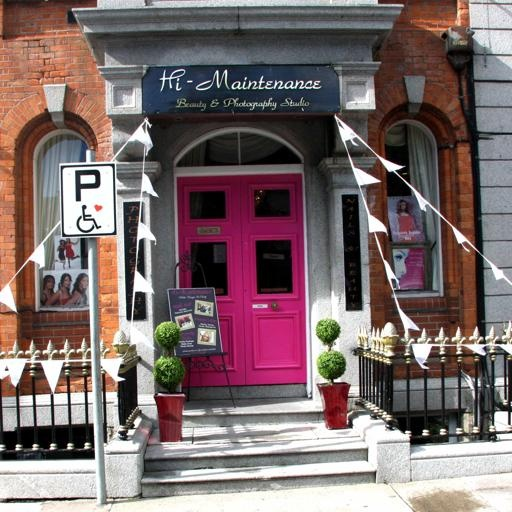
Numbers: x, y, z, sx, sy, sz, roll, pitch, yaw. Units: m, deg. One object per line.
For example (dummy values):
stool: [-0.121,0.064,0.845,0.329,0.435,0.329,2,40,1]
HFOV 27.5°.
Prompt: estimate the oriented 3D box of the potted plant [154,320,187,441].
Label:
potted plant: [-0.992,1.435,12.005,0.355,1.379,0.777,-2,-8,-5]

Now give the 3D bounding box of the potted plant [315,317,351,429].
potted plant: [0.891,1.366,12.127,0.362,1.282,0.495,-3,-8,3]
